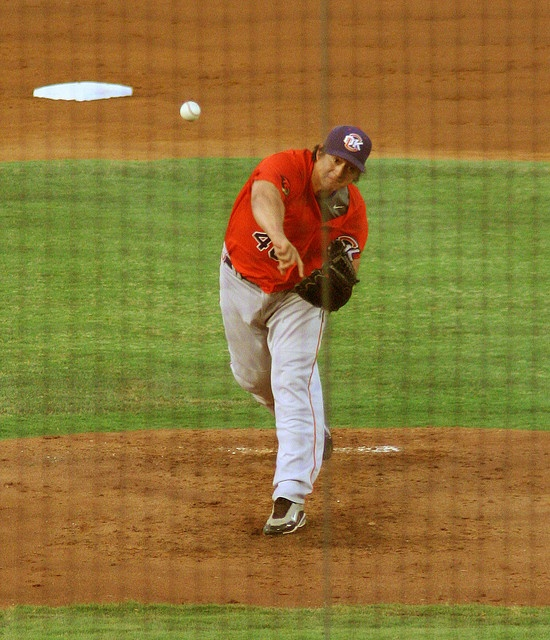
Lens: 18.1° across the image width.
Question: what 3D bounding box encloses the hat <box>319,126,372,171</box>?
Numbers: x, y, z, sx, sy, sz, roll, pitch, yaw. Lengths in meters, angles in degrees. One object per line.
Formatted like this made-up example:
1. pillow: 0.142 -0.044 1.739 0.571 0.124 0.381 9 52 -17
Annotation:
1. hat: 0.474 -1.215 11.816 0.230 0.350 0.208 29 107 -23

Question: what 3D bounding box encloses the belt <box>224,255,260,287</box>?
1. belt: -0.228 -0.363 12.068 0.065 0.167 0.205 -43 61 -8

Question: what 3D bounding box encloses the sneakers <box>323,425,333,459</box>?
1. sneakers: 0.363 0.874 12.281 0.104 0.056 0.176 -1 89 6

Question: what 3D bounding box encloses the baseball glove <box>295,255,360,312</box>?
1. baseball glove: 0.383 -0.263 12.070 0.125 0.321 0.476 5 79 57

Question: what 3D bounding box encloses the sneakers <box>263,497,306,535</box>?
1. sneakers: 0.058 1.329 11.739 0.137 0.343 0.181 -1 87 13

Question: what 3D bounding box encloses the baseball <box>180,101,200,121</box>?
1. baseball: -0.813 -2.023 17.154 0.213 0.217 0.136 20 101 42
